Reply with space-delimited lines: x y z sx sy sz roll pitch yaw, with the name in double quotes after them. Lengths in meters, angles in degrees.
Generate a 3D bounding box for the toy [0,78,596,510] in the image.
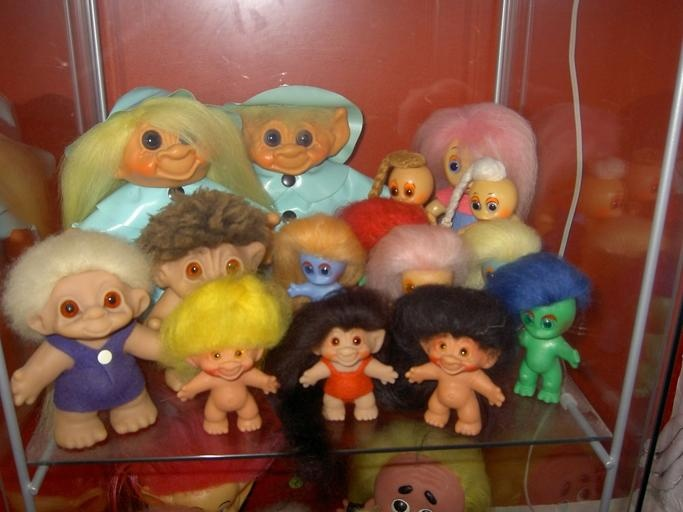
-0.160 -0.193 1.480 1.146 0.460 0.421 -9 25 -9 "toy"
